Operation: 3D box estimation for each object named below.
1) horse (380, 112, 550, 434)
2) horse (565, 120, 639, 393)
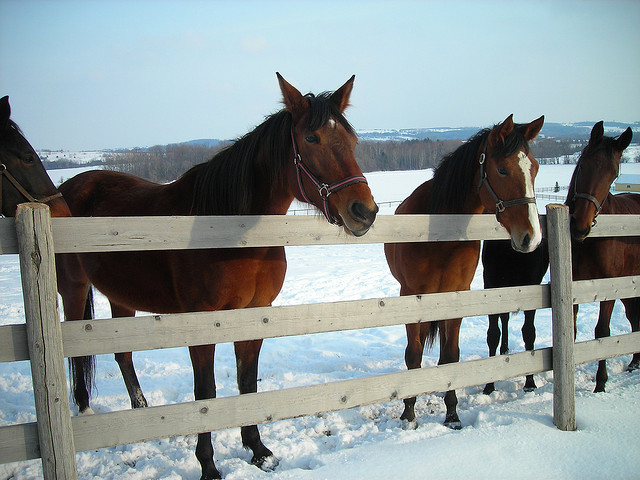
[{"bbox_3d":[1.392,0.327,5.974,1.558,2.908,2.054,-2,3,20],"label":"horse"},{"bbox_3d":[3.088,0.141,6.647,0.643,2.798,1.544,0,4,42],"label":"horse"}]
